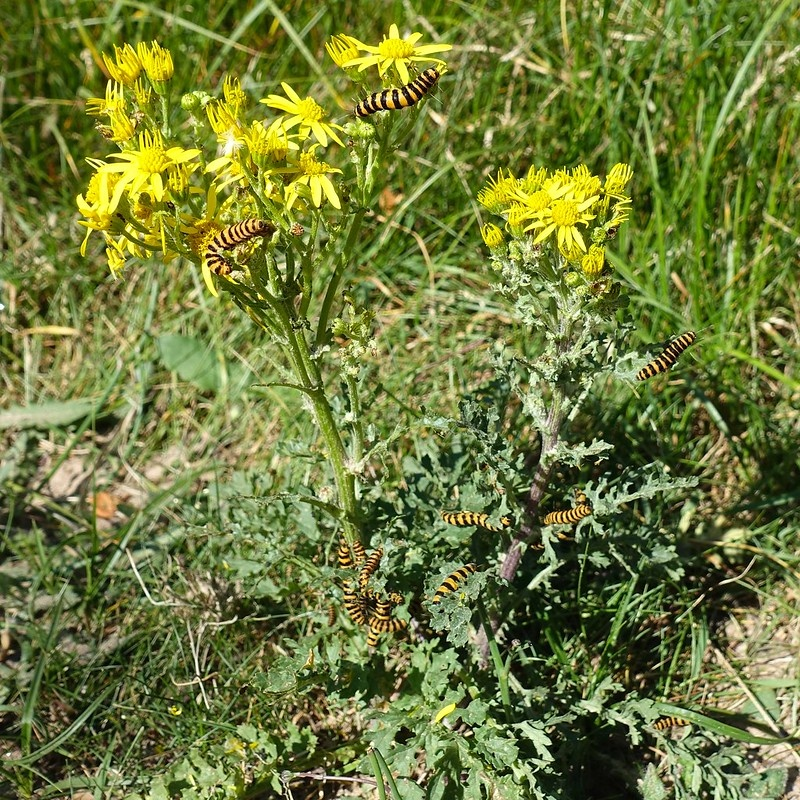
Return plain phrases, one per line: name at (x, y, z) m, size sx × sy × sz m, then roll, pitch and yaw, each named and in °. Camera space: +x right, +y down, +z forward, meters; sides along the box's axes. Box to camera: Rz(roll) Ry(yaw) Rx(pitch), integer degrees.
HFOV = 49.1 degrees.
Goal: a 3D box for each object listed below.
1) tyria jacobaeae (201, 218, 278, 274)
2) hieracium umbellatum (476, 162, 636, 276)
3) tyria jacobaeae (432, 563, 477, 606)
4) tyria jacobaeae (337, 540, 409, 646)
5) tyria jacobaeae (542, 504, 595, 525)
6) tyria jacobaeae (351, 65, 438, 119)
tyria jacobaeae at (-0.492, -0.465, 2.671) m, size 0.285 × 0.086 × 0.071 m, roll -26°, pitch 30°, yaw 38°
hieracium umbellatum at (0.558, -0.600, 3.018) m, size 0.430 × 0.195 × 0.448 m, roll -23°, pitch 80°, yaw 31°
tyria jacobaeae at (0.184, 0.636, 3.047) m, size 0.069 × 0.109 × 0.209 m, roll 38°, pitch 70°, yaw 25°
tyria jacobaeae at (-0.120, 0.728, 3.345) m, size 0.302 × 0.062 × 0.370 m, roll -38°, pitch 85°, yaw 32°
tyria jacobaeae at (0.612, 0.421, 3.177) m, size 0.193 × 0.055 × 0.052 m, roll -16°, pitch 38°, yaw 18°
tyria jacobaeae at (0.014, -0.956, 2.784) m, size 0.306 × 0.084 × 0.098 m, roll 16°, pitch 81°, yaw 46°
